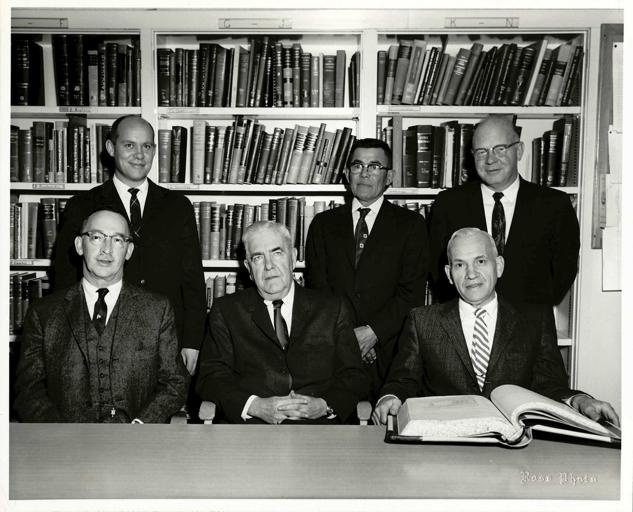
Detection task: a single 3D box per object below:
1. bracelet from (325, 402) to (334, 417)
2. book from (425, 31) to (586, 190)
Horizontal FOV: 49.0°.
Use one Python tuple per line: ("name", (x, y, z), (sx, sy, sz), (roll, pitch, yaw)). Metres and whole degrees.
("bracelet", (0.063, 0.689, 3.133), (0.024, 0.067, 0.028), (-6, 26, -21))
("book", (1.180, -0.899, 4.309), (0.994, 0.944, 0.348), (4, 3, 0))
